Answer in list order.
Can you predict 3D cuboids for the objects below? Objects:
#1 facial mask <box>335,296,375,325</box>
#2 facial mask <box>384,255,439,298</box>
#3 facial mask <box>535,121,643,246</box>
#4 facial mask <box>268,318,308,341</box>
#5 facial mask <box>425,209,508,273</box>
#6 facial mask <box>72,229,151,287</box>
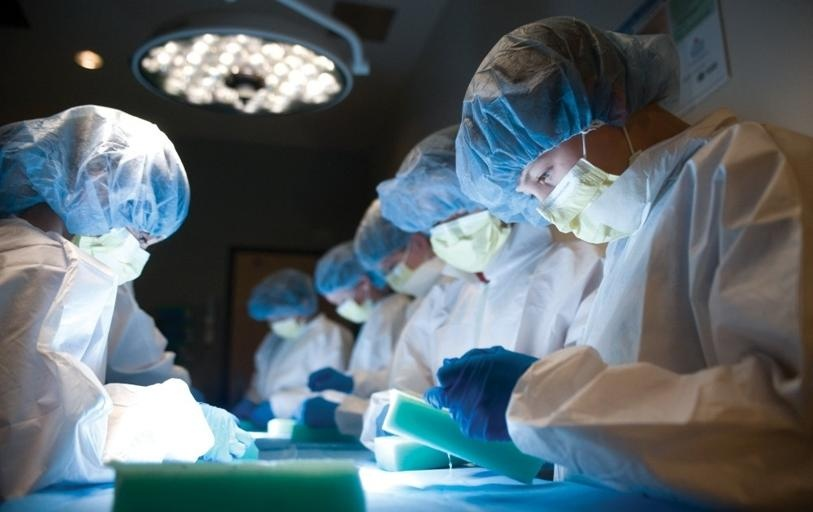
[{"bbox_3d":[-0.255,0.282,4.287,0.156,0.146,0.147,-43,2,-28],"label":"facial mask"},{"bbox_3d":[0.042,0.106,3.754,0.199,0.109,0.195,-39,8,-21],"label":"facial mask"},{"bbox_3d":[0.534,-0.168,2.492,0.186,0.345,0.290,28,-16,-7],"label":"facial mask"},{"bbox_3d":[-0.619,0.375,4.149,0.150,0.089,0.118,2,6,-3],"label":"facial mask"},{"bbox_3d":[0.232,-0.051,2.998,0.240,0.142,0.240,-20,22,18],"label":"facial mask"},{"bbox_3d":[-0.957,-0.020,2.701,0.193,0.198,0.059,-37,35,-2],"label":"facial mask"}]
